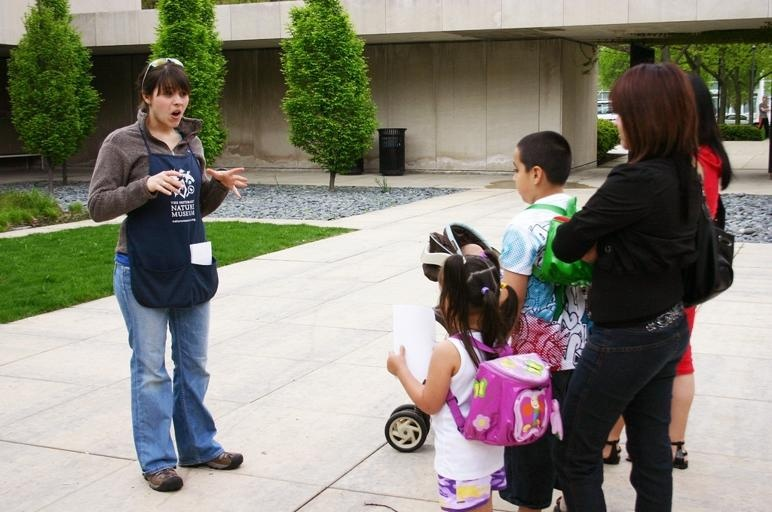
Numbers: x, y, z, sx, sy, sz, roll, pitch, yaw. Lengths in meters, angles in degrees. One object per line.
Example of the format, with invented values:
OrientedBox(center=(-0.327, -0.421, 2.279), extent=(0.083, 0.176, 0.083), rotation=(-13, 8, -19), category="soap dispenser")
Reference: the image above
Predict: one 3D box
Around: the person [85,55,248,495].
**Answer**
OrientedBox(center=(-1.332, 0.091, 3.893), extent=(0.738, 2.606, 0.809), rotation=(9, 16, 37), category="person")

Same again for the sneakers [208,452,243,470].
OrientedBox(center=(-1.043, 1.319, 4.002), extent=(0.178, 0.081, 0.102), rotation=(0, 6, 5), category="sneakers")

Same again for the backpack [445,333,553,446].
OrientedBox(center=(0.552, 0.634, 2.975), extent=(0.398, 0.513, 0.509), rotation=(-2, 5, -41), category="backpack")

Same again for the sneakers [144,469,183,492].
OrientedBox(center=(-1.373, 1.356, 3.792), extent=(0.234, 0.098, 0.105), rotation=(-3, 0, 41), category="sneakers")

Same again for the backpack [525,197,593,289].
OrientedBox(center=(0.858, -0.040, 3.008), extent=(0.380, 0.380, 0.251), rotation=(4, 6, 26), category="backpack")

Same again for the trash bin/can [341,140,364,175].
OrientedBox(center=(-0.978, -3.082, 20.710), extent=(0.988, 1.190, 1.020), rotation=(0, -1, -4), category="trash bin/can")
